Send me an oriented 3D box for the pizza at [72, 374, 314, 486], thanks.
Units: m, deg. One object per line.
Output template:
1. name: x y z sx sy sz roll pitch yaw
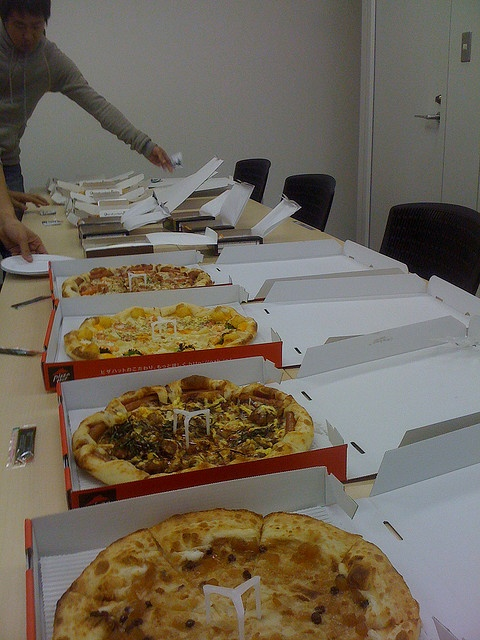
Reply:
1. pizza: -0.070 0.144 0.642 0.322 0.077 0.245 -3 17 -18
